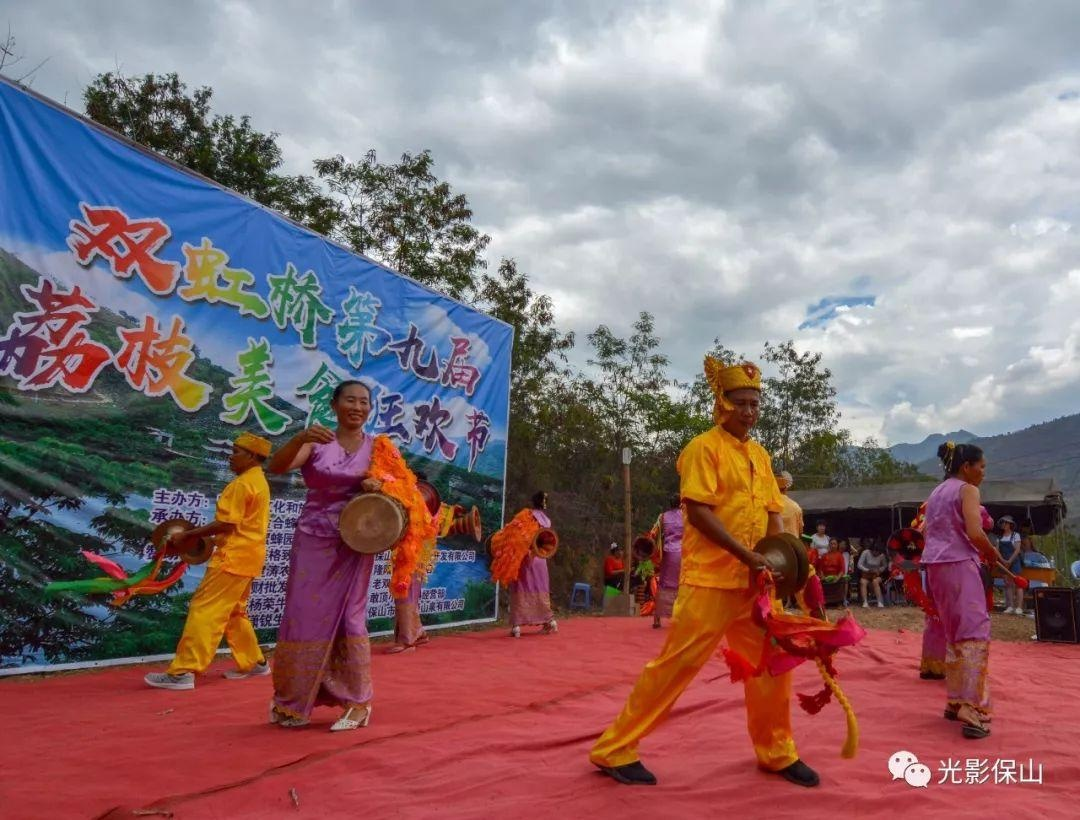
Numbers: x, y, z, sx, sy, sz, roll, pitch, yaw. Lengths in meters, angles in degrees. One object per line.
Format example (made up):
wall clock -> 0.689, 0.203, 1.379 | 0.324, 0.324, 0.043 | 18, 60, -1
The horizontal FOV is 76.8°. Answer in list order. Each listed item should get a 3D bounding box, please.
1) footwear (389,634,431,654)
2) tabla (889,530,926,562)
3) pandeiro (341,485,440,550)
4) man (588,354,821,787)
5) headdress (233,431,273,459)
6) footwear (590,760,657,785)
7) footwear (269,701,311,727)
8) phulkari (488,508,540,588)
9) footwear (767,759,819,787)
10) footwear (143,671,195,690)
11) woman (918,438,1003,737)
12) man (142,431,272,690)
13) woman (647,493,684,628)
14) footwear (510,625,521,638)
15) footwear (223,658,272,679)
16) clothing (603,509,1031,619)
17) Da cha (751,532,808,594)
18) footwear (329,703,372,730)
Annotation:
footwear -> -1.718, 2.981, 8.670 | 0.158, 0.219, 0.497 | -10, -17, 22
tabla -> 3.299, 1.209, 6.084 | 0.254, 0.311, 0.286 | -13, -19, 34
pandeiro -> -1.137, 0.782, 4.991 | 0.316, 0.380, 0.862 | -27, 4, 2
man -> 0.996, 0.877, 3.975 | 1.197, 2.421, 0.735 | 0, -15, 6
headdress -> -2.630, 0.321, 6.246 | 0.327, 0.204, 0.250 | 31, -8, -33
footwear -> 0.503, 2.002, 3.821 | 0.325, 0.104, 0.132 | -18, -24, 41
footwear -> -1.796, 2.137, 4.792 | 0.210, 0.127, 0.163 | -1, -12, 14
phulkari -> -0.411, 1.977, 9.951 | 0.391, 0.748, 1.115 | 9, -47, -47
footwear -> 1.460, 2.032, 3.820 | 0.095, 0.098, 0.211 | 15, -24, -37
footwear -> -3.290, 2.362, 5.967 | 0.448, 0.140, 0.155 | -1, -17, 10
woman -> 3.152, 1.254, 5.046 | 0.499, 2.125, 0.493 | -8, -18, 34
man -> -2.927, 1.373, 6.210 | 0.787, 2.199, 1.028 | 7, -16, -20
woman -> 2.011, 2.364, 10.761 | 0.519, 2.170, 0.522 | 4, 1, -4
footwear -> -0.355, 3.268, 10.049 | 0.237, 0.183, 0.082 | -6, -13, 37
footwear -> -2.883, 2.539, 6.657 | 0.389, 0.185, 0.163 | 15, -26, -21
clothing -> 3.573, 1.973, 8.464 | 2.644, 0.795, 2.721 | 28, -37, -33
Da cha -> 1.374, 0.856, 3.790 | 0.304, 0.361, 0.229 | 3, -16, -4
footwear -> -1.346, 2.151, 4.754 | 0.110, 0.140, 0.314 | -16, -26, 26
